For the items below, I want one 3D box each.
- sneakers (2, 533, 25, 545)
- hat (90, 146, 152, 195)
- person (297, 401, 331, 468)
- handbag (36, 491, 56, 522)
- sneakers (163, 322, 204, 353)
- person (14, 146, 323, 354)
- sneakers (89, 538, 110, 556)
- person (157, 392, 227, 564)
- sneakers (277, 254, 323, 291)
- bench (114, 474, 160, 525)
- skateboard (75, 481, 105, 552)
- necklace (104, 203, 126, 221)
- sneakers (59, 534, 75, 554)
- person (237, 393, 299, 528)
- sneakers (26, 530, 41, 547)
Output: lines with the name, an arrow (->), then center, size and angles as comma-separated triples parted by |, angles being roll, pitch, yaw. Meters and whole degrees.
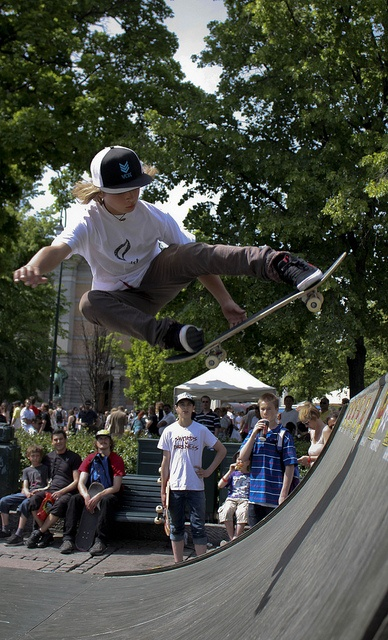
sneakers -> -2.017, 2.455, 6.929 | 0.202, 0.131, 0.201 | 6, -1, -14
hat -> -0.419, -0.847, 3.408 | 0.275, 0.192, 0.358 | -21, 37, -21
person -> 1.224, 1.217, 6.458 | 0.327, 0.629, 0.807 | 6, -1, 11
handbag -> -1.673, 2.112, 6.946 | 0.166, 0.272, 0.076 | 38, -29, -29
sneakers -> -0.062, 0.098, 3.269 | 0.202, 0.082, 0.150 | 21, -27, -30
person -> -0.063, -0.397, 3.285 | 1.597, 1.083, 1.137 | 4, 14, 33
sneakers -> -1.031, 2.422, 6.564 | 0.146, 0.176, 0.273 | 6, -1, 1
person -> -0.090, 1.459, 5.634 | 0.564, 1.493, 0.636 | 7, -1, 3
sneakers -> 0.475, -0.237, 2.969 | 0.128, 0.102, 0.300 | 42, 0, -16
bench -> -0.677, 2.114, 7.205 | 0.911, 0.533, 0.378 | 0, -20, -4
skateboard -> -1.147, 2.158, 6.842 | 0.199, 0.746, 0.138 | 6, -17, 13
necklace -> -0.460, -0.614, 3.546 | 0.105, 0.025, 0.076 | 32, 28, 2
sneakers -> -1.359, 2.414, 6.603 | 0.146, 0.158, 0.258 | 6, -2, -8
person -> 0.613, 1.179, 5.169 | 0.476, 1.049, 0.259 | 7, -1, 11
sneakers -> -1.772, 2.411, 6.825 | 0.079, 0.087, 0.219 | 9, 10, 12
